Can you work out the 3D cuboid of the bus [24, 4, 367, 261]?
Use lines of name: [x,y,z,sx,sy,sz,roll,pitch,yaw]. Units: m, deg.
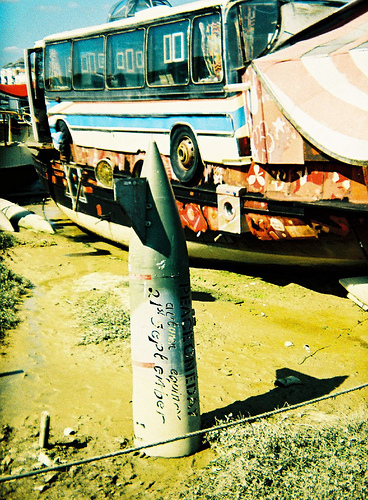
bus: [0.341,-2.256,8.558,3.133,3.106,8.192,-10,17,-38]
